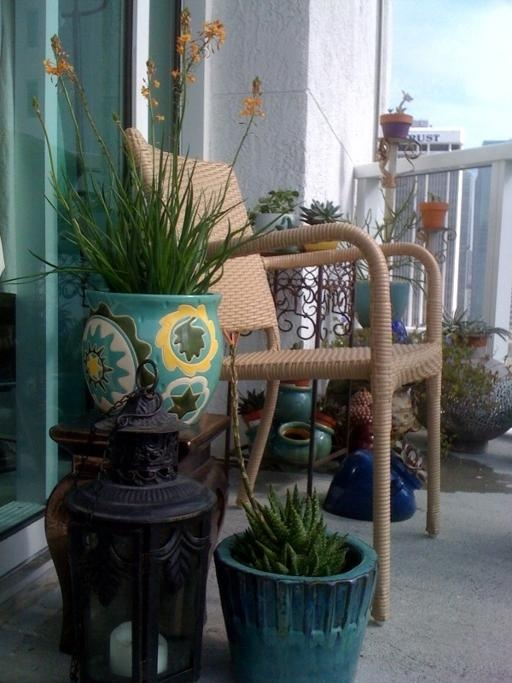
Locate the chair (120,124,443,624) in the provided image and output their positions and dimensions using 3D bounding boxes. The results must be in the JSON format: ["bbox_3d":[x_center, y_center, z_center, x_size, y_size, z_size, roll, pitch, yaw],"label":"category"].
[{"bbox_3d":[0.133,-0.010,1.861,0.921,1.317,0.800,2,5,30],"label":"chair"}]

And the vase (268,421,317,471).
[{"bbox_3d":[0.109,0.334,2.004,0.134,0.141,0.120,5,28,-10],"label":"vase"}]

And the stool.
[{"bbox_3d":[-0.156,0.288,1.002,0.322,0.361,0.328,1,4,-20],"label":"stool"}]

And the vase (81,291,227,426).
[{"bbox_3d":[-0.146,0.012,0.954,0.202,0.177,0.199,1,-2,-6],"label":"vase"}]
